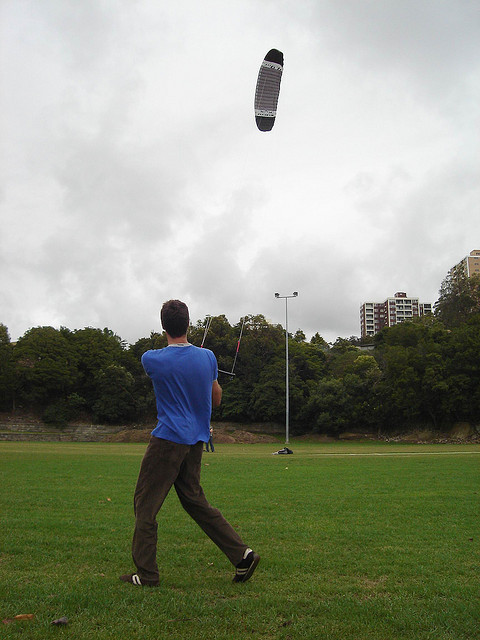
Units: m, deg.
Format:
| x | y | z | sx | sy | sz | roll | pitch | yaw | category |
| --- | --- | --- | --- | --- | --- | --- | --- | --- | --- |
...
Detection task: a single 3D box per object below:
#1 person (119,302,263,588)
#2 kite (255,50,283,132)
| x | y | z | sx | sy | sz | roll | pitch | yaw | category |
| --- | --- | --- | --- | --- | --- | --- | --- | --- | --- |
| -0.423 | 0.997 | 4.848 | 0.940 | 2.293 | 0.317 | 7 | -12 | -22 | person |
| 0.443 | -3.468 | 8.750 | 0.380 | 1.286 | 0.325 | 2 | -11 | 2 | kite |
